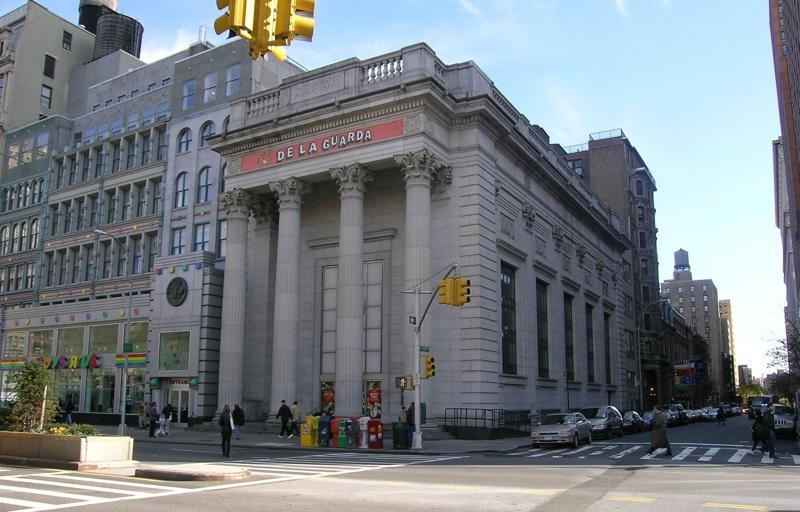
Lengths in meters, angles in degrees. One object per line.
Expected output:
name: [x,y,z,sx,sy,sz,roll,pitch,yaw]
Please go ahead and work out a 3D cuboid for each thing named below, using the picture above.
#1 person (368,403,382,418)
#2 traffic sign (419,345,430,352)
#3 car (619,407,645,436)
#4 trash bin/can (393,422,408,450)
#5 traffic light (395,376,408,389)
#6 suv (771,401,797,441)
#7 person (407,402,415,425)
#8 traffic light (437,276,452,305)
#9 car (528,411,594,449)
person: [-2.023,11.397,52.475,1.041,1.051,0.762,-10,-20,25]
traffic sign: [1.417,5.837,44.517,0.523,0.226,0.512,5,-14,-21]
car: [18.795,13.689,58.361,1.420,1.143,3.175,-10,-22,31]
trash bin/can: [0.024,10.831,42.732,0.878,1.576,0.641,1,-18,-7]
traffic light: [0.029,7.854,44.083,0.640,0.727,0.891,4,-19,-18]
suv: [30.890,13.264,56.739,2.485,2.404,4.998,-6,-20,21]
person: [0.642,10.382,46.823,0.464,1.505,1.348,-3,-18,4]
traffic light: [2.624,2.064,41.431,0.749,1.576,1.320,-2,-18,1]
car: [10.371,11.155,45.697,2.141,2.189,4.352,-16,-23,38]
